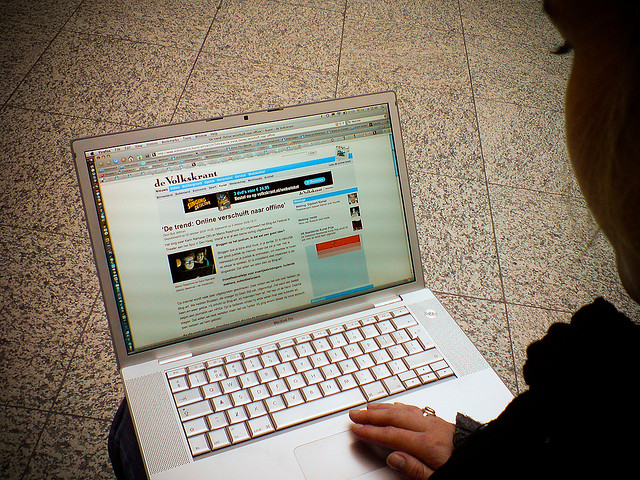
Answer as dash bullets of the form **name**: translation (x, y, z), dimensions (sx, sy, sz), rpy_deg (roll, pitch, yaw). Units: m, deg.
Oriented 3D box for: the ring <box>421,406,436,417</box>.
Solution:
- **ring**: translation (0.199, 0.313, 0.963), dimensions (0.027, 0.026, 0.023), rpy_deg (7, 59, 2)
